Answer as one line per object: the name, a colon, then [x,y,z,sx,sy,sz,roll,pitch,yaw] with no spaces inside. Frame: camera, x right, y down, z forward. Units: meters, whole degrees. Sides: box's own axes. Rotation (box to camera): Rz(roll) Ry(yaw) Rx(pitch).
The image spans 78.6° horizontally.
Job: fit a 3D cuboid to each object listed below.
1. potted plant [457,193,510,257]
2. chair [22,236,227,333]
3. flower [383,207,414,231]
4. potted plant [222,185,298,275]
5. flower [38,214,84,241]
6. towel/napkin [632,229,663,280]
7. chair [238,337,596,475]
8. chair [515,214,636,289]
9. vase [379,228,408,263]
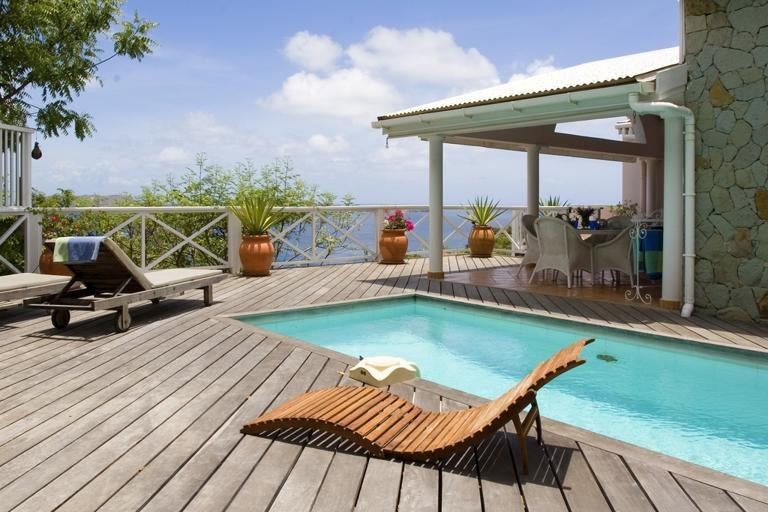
potted plant: [2.491,-0.740,11.831,0.867,1.486,0.677,-2,11,-10]
chair: [-3.202,0.252,5.859,1.177,1.094,1.674,5,10,27]
flower: [0.319,-0.807,10.796,0.530,0.488,0.686,3,10,14]
potted plant: [-2.503,-0.479,9.466,1.006,1.650,1.259,-2,10,-11]
flower: [-5.263,-0.501,7.784,0.648,0.370,0.724,0,4,-36]
towel/napkin: [4.603,-0.037,8.316,0.430,0.892,0.563,6,12,29]
chair: [-0.032,0.824,3.199,2.579,0.656,0.855,4,1,19]
chair: [3.179,-0.115,7.852,1.593,0.927,1.333,-4,5,-29]
vase: [0.205,-0.215,10.614,0.623,0.771,0.328,0,11,1]
